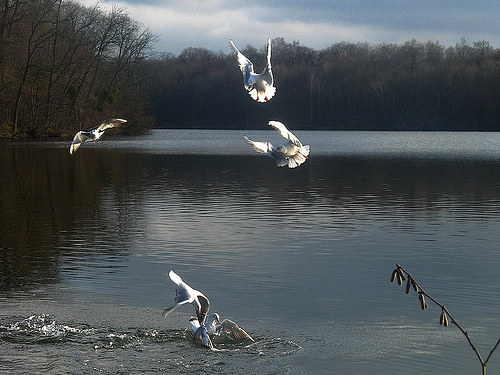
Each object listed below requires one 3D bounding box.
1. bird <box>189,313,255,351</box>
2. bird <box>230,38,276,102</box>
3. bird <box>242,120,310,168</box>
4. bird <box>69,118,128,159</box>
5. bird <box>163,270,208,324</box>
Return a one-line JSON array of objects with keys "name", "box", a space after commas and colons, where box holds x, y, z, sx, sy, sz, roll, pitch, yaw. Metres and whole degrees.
[{"name": "bird", "box": [-0.593, 2.646, 15.405, 1.106, 0.719, 0.419, 0, 28, -1]}, {"name": "bird", "box": [0.150, -2.647, 19.164, 1.216, 1.220, 1.478, -1, 10, 20]}, {"name": "bird", "box": [0.590, -0.934, 17.584, 1.209, 1.046, 1.688, 3, 7, 20]}, {"name": "bird", "box": [-4.483, -1.510, 23.253, 1.333, 0.972, 3.238, -2, 7, -19]}, {"name": "bird", "box": [-1.113, 2.017, 14.858, 0.434, 1.142, 1.184, 3, 7, 22]}]
